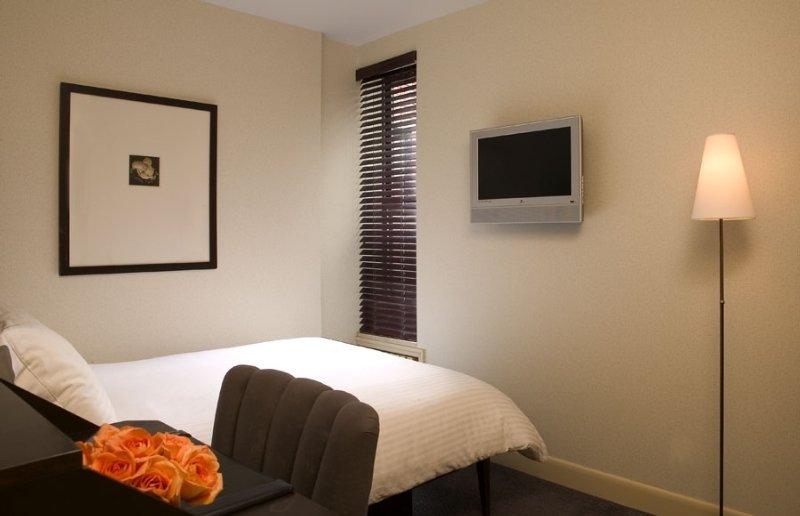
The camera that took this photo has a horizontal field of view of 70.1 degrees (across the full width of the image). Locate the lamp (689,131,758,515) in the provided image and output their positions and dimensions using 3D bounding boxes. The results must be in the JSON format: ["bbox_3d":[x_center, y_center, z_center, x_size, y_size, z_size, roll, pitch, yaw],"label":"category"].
[{"bbox_3d":[1.851,0.402,3.395,0.309,2.265,0.338,6,9,31],"label":"lamp"}]

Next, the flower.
[{"bbox_3d":[-0.764,0.630,1.769,0.310,0.109,0.294,22,10,-33],"label":"flower"}]

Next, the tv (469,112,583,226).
[{"bbox_3d":[0.885,-0.598,3.937,0.806,0.694,0.081,-2,-1,34],"label":"tv"}]
